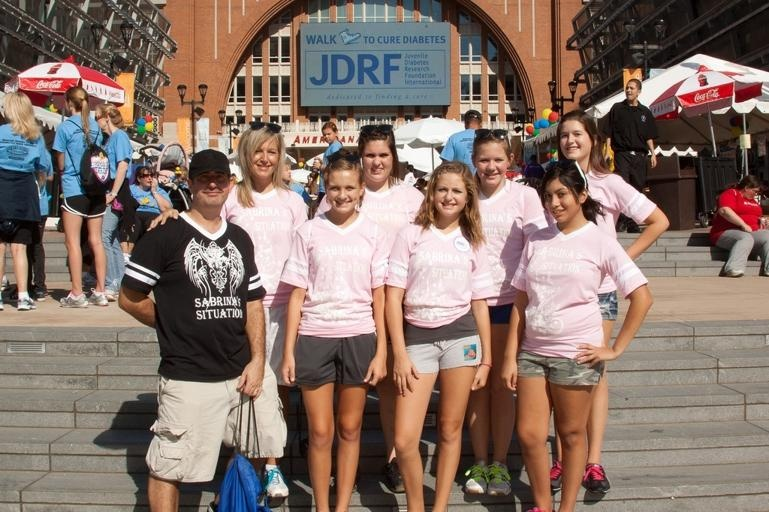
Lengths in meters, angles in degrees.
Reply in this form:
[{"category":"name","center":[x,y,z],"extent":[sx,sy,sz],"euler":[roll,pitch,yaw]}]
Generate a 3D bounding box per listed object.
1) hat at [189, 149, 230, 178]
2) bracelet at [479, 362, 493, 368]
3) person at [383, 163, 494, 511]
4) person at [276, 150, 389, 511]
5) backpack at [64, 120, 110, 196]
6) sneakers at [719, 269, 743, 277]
[{"category":"hat","center":[-2.056,-1.087,11.469],"extent":[0.469,0.328,0.239],"euler":[-1,4,-12]},{"category":"bracelet","center":[1.223,1.316,11.841],"extent":[0.194,0.081,0.091],"euler":[-3,5,-32]},{"category":"person","center":[0.643,0.958,11.845],"extent":[1.266,4.177,0.614],"euler":[0,4,-1]},{"category":"person","center":[-0.596,0.906,11.802],"extent":[1.269,4.266,0.530],"euler":[0,4,-1]},{"category":"backpack","center":[-4.415,-1.440,14.849],"extent":[0.468,1.082,0.299],"euler":[-1,4,-20]},{"category":"sneakers","center":[6.147,0.312,17.421],"extent":[0.124,0.152,0.339],"euler":[5,-6,-44]}]
